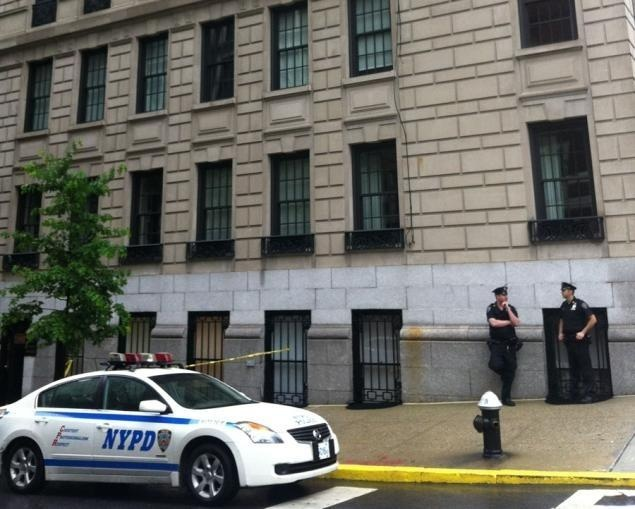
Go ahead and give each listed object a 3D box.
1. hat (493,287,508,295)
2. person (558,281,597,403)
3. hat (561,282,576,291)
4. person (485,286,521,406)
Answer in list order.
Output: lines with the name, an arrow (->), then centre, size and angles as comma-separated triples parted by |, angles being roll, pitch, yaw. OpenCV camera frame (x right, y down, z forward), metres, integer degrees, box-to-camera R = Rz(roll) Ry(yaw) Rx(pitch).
hat -> 4.199, 0.846, 17.506 | 0.227, 0.139, 0.201 | -6, -6, 43
person -> 5.837, 1.950, 17.014 | 0.725, 2.536, 1.090 | 0, 5, -18
hat -> 5.721, 0.723, 17.224 | 0.238, 0.122, 0.224 | 4, -6, -12
person -> 4.241, 2.068, 17.388 | 0.765, 2.603, 1.026 | 3, 5, 13
